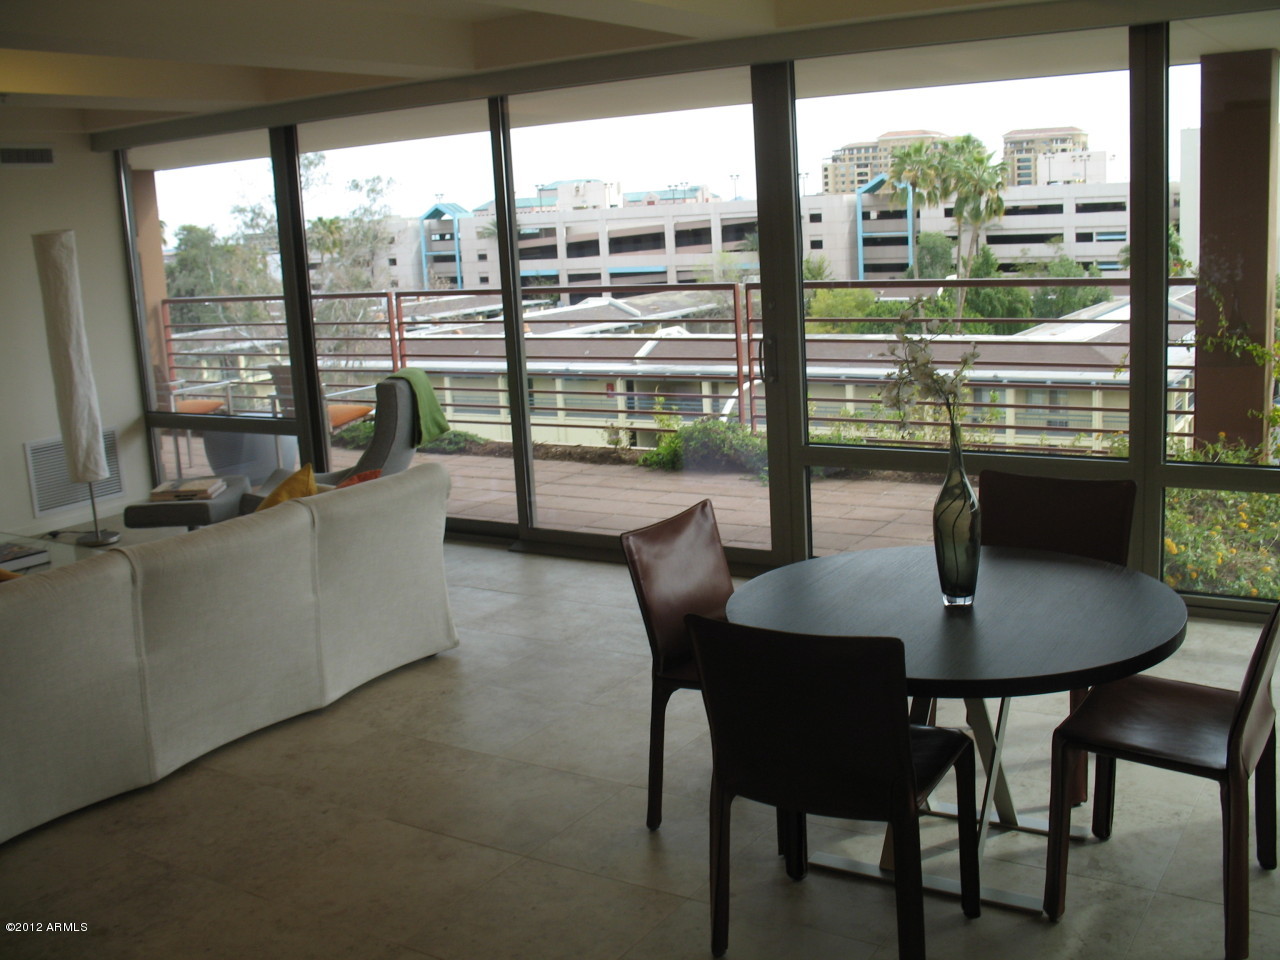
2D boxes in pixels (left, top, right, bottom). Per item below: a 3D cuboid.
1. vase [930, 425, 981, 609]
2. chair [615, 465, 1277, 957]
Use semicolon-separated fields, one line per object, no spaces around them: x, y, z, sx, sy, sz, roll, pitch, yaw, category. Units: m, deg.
0.945;0.090;2.876;0.126;0.537;0.216;1;12;17;vase
0.877;0.672;3.007;1.824;1.017;1.023;8;16;41;chair
